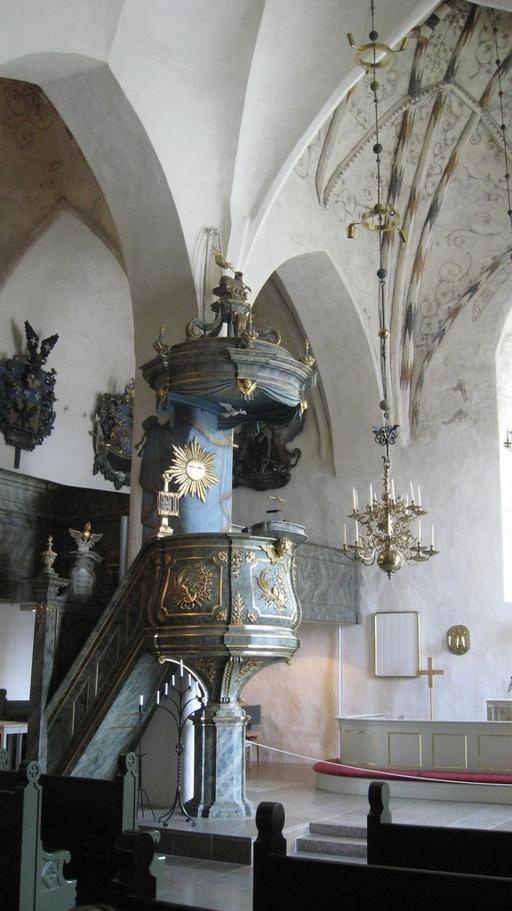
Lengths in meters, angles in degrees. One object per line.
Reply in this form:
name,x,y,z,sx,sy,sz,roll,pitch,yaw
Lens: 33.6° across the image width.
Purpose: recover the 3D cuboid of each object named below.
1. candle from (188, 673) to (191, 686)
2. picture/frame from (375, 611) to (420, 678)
candle,-0.673,2.297,8.619,0.022,0.125,0.051,-2,-10,10
picture/frame,2.279,3.059,13.543,0.925,1.335,0.057,-9,-20,35
